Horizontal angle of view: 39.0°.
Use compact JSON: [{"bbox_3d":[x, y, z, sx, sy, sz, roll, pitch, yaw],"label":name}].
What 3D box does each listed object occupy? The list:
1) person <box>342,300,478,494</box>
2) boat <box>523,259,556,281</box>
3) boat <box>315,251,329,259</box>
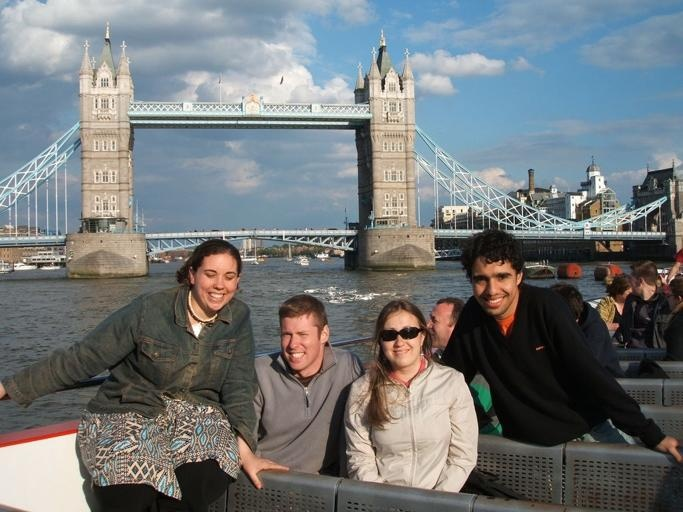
[{"bbox_3d":[0.304,0.716,4.313,0.599,0.951,0.489,-5,-1,3],"label":"person"},{"bbox_3d":[8.555,0.635,41.520,0.880,0.789,2.679,-3,-6,12],"label":"boat"},{"bbox_3d":[-2.025,-0.214,111.700,1.132,0.984,1.841,0,-6,-2],"label":"boat"}]
